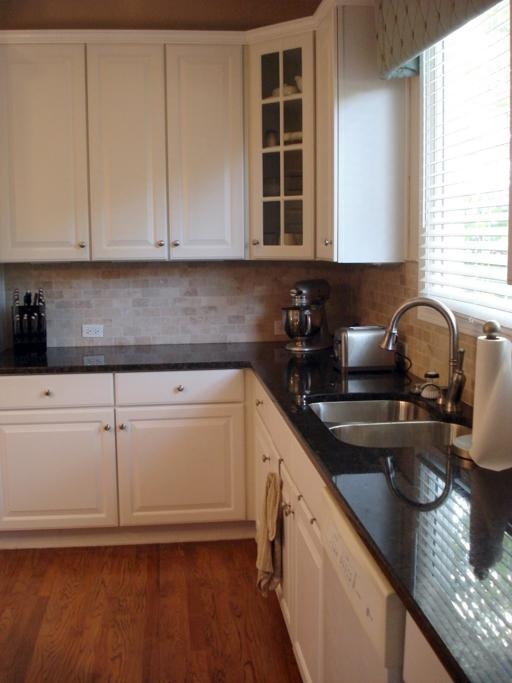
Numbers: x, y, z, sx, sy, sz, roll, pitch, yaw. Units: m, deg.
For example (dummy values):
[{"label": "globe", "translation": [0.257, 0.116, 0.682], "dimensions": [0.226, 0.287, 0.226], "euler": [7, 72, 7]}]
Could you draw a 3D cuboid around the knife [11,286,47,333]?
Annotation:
[{"label": "knife", "translation": [-1.164, -0.142, 2.954], "dimensions": [0.153, 0.238, 0.076], "euler": [-4, 7, -29]}]

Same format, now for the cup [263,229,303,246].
[{"label": "cup", "translation": [0.128, -0.488, 2.711], "dimensions": [0.077, 0.059, 0.136], "euler": [-2, 11, -19]}]

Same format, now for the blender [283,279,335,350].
[{"label": "blender", "translation": [0.225, -0.116, 2.776], "dimensions": [0.200, 0.356, 0.354], "euler": [2, 7, 27]}]

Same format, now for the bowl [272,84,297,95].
[{"label": "bowl", "translation": [0.132, -1.144, 2.615], "dimensions": [0.071, 0.029, 0.061], "euler": [-5, 8, -41]}]

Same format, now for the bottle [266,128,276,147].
[{"label": "bottle", "translation": [0.072, -0.959, 2.696], "dimensions": [0.052, 0.069, 0.023], "euler": [3, 4, 36]}]

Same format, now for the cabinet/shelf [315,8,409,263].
[{"label": "cabinet/shelf", "translation": [0.373, -0.834, 2.355], "dimensions": [0.245, 1.018, 0.454], "euler": [-6, 8, -39]}]

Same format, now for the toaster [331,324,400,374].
[{"label": "toaster", "translation": [0.454, 0.042, 2.391], "dimensions": [0.236, 0.201, 0.141], "euler": [0, 5, -1]}]

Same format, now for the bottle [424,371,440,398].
[{"label": "bottle", "translation": [0.567, 0.141, 1.853], "dimensions": [0.063, 0.079, 0.070], "euler": [-1, 8, 1]}]
